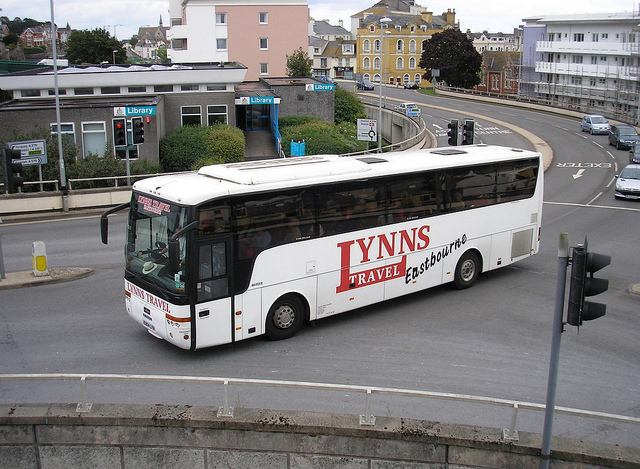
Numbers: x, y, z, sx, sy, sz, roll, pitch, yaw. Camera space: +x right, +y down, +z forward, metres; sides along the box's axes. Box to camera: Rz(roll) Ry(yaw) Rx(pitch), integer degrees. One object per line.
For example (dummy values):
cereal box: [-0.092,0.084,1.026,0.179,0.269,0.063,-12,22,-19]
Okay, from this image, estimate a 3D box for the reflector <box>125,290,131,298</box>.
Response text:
reflector: [-5.021,1.573,18.134,0.121,0.215,0.111,-10,23,-27]

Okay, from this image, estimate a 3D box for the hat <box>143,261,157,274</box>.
hat: [-4.264,0.863,17.340,0.508,0.318,0.099,10,17,40]

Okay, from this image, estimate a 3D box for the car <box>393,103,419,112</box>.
car: [8.158,-12.214,66.606,1.243,0.774,2.186,-13,21,-35]

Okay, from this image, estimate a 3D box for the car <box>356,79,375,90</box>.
car: [6.582,-20.841,97.063,1.494,1.358,2.668,-7,12,-24]

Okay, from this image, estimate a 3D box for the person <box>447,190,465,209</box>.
person: [4.078,-1.018,20.762,0.473,0.980,0.486,1,3,30]

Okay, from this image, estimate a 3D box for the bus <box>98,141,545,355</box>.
bus: [1.121,-0.113,20.451,13.506,4.505,2.660,-11,16,-31]

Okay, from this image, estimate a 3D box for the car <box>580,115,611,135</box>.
car: [21.524,-8.563,54.249,1.349,1.257,2.435,-3,11,-4]
